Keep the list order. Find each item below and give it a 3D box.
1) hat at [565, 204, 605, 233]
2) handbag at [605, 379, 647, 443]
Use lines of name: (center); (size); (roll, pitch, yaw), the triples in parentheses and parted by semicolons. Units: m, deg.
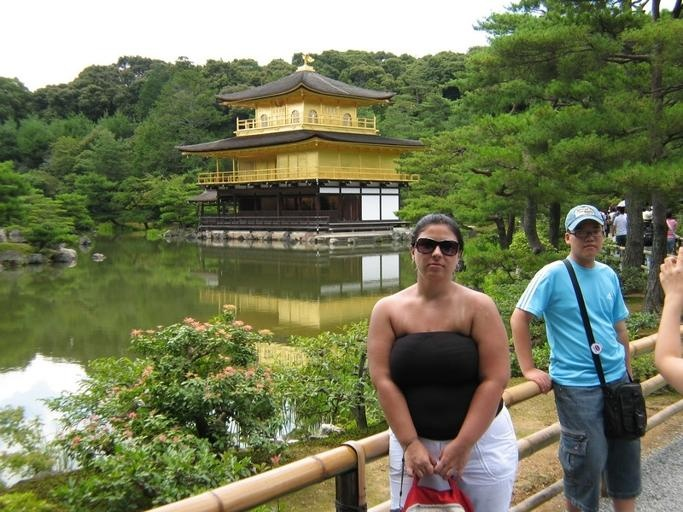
hat: (1.305, -0.181, 3.118); (0.145, 0.108, 0.204); (-4, -6, 8)
handbag: (1.445, 0.783, 2.970); (0.199, 0.283, 0.162); (-6, -2, -16)
